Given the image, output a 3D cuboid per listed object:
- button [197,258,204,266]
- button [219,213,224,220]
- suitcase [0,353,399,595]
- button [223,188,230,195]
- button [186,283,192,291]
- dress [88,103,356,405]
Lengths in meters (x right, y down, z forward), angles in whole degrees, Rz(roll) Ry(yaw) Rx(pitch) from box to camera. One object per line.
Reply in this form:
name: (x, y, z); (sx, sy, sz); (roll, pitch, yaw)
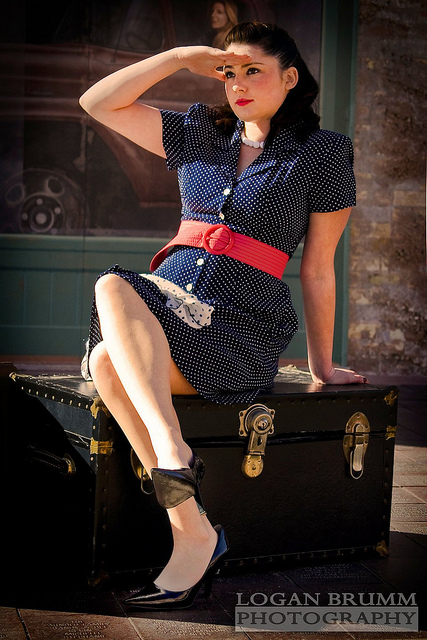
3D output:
button: (-0.033, -0.148, 1.616); (0.010, 0.019, 0.020); (5, 0, -39)
button: (0.022, -0.270, 1.652); (0.020, 0.016, 0.004); (-3, 2, -2)
suitcase: (-0.074, 0.398, 1.767); (1.036, 0.594, 0.760); (4, 1, -43)
button: (0.034, -0.335, 1.655); (0.014, 0.017, 0.017); (5, 0, -10)
button: (-0.060, -0.082, 1.598); (0.011, 0.019, 0.017); (5, 0, -28)
dress: (0.030, -0.203, 1.727); (0.673, 0.734, 0.487); (10, 8, 2)
